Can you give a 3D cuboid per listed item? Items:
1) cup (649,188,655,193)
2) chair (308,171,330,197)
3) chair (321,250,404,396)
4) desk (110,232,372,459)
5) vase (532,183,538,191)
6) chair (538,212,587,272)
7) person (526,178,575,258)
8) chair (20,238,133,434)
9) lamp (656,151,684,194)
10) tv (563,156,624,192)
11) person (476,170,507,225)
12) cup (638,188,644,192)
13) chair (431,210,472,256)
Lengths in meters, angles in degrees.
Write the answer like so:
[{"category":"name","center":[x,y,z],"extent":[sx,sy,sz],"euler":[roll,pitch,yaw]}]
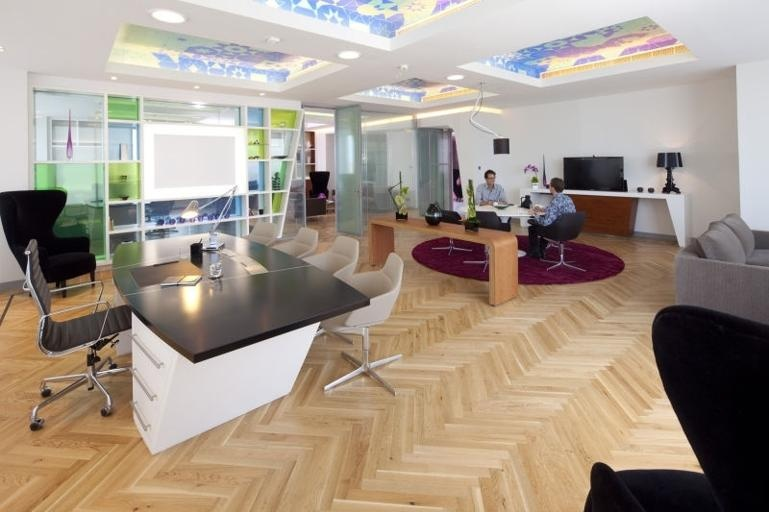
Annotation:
[{"category":"cup","center":[5.099,-1.297,9.156],"extent":[0.117,0.098,0.109],"euler":[0,-5,0]},{"category":"chair","center":[-1.848,-2.163,13.944],"extent":[0.747,0.974,0.701],"euler":[0,11,-9]},{"category":"chair","center":[-0.234,0.598,4.467],"extent":[0.907,1.100,0.916],"euler":[-7,11,-25]},{"category":"desk","center":[-1.420,0.720,4.264],"extent":[1.596,1.172,2.152],"euler":[-9,13,-31]},{"category":"vase","center":[3.387,-1.599,10.776],"extent":[0.145,0.163,0.168],"euler":[3,7,26]},{"category":"chair","center":[2.797,-0.285,7.493],"extent":[0.678,0.850,0.627],"euler":[-8,13,-42]},{"category":"person","center":[2.671,-0.594,7.685],"extent":[0.749,1.356,0.705],"euler":[16,29,43]},{"category":"chair","center":[-2.629,0.591,4.195],"extent":[1.074,1.335,0.983],"euler":[-7,13,-43]},{"category":"lamp","center":[5.247,-1.578,8.844],"extent":[0.414,0.752,0.511],"euler":[5,14,31]},{"category":"tv","center":[4.248,-1.718,9.840],"extent":[1.264,0.738,0.117],"euler":[0,1,-1]},{"category":"person","center":[2.091,-1.117,9.326],"extent":[0.558,1.159,0.555],"euler":[1,26,19]},{"category":"cup","center":[4.949,-1.319,9.273],"extent":[0.113,0.083,0.106],"euler":[-2,4,0]},{"category":"chair","center":[1.063,-0.380,8.048],"extent":[0.755,0.867,0.695],"euler":[0,1,30]}]
